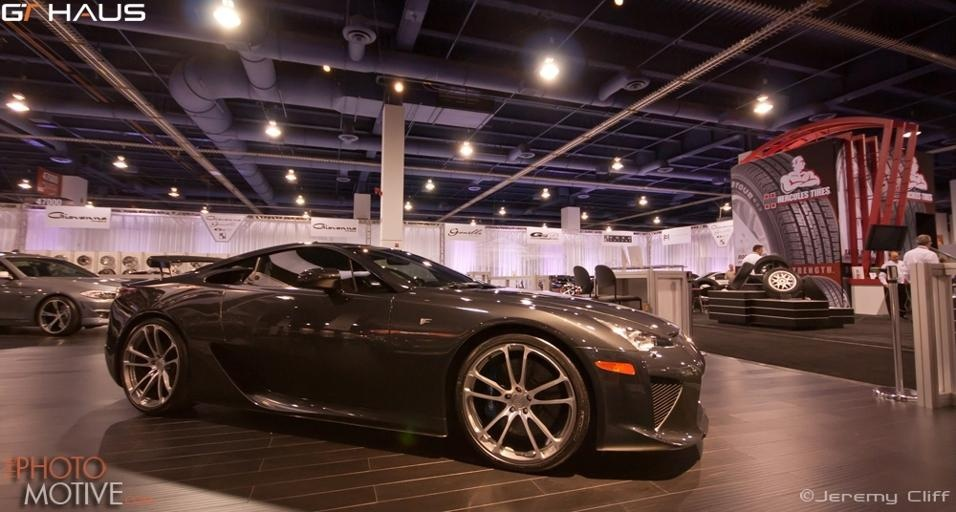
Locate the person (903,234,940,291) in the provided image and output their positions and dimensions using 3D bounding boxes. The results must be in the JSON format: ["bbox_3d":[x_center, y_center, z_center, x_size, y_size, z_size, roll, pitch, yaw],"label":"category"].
[{"bbox_3d":[10.949,0.087,11.893,0.815,1.116,0.787,-8,9,-12],"label":"person"}]

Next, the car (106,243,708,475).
[{"bbox_3d":[-1.144,1.404,7.328,7.407,1.748,3.492,0,-3,12],"label":"car"}]
